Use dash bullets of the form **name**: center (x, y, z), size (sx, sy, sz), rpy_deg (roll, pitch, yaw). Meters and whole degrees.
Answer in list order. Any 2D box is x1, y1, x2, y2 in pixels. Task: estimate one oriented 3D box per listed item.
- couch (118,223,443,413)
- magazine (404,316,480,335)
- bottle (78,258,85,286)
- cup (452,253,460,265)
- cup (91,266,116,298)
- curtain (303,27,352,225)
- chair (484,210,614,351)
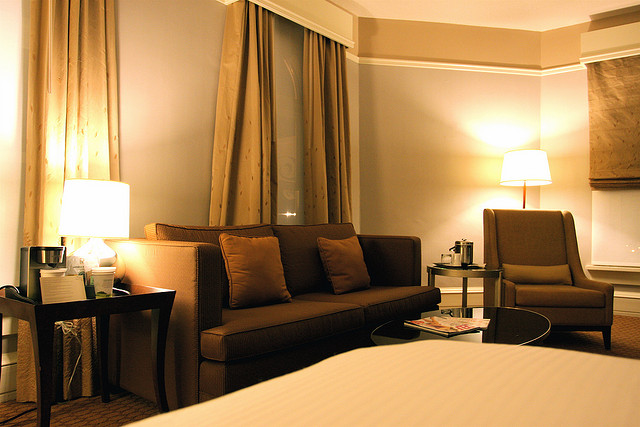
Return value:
- **couch**: center (-0.326, 0.549, 2.734), size (1.203, 0.519, 0.524), rpy_deg (3, -7, -45)
- **magazine**: center (0.716, 0.652, 2.957), size (0.239, 0.034, 0.356), rpy_deg (-14, 16, -41)
- **bottle**: center (-1.363, 0.304, 2.836), size (0.034, 0.072, 0.096), rpy_deg (-10, 14, -22)
- **cup**: center (1.171, 0.391, 4.311), size (0.062, 0.079, 0.046), rpy_deg (1, 14, 21)
- **cup**: center (-1.241, 0.395, 2.832), size (0.153, 0.158, 0.141), rpy_deg (-4, -10, -1)
- **curtain**: center (-0.023, -0.634, 4.714), size (0.177, 2.013, 0.717), rpy_deg (5, 11, 40)
- **chair**: center (1.905, 0.519, 4.300), size (1.143, 1.062, 1.060), rpy_deg (1, -1, -32)
